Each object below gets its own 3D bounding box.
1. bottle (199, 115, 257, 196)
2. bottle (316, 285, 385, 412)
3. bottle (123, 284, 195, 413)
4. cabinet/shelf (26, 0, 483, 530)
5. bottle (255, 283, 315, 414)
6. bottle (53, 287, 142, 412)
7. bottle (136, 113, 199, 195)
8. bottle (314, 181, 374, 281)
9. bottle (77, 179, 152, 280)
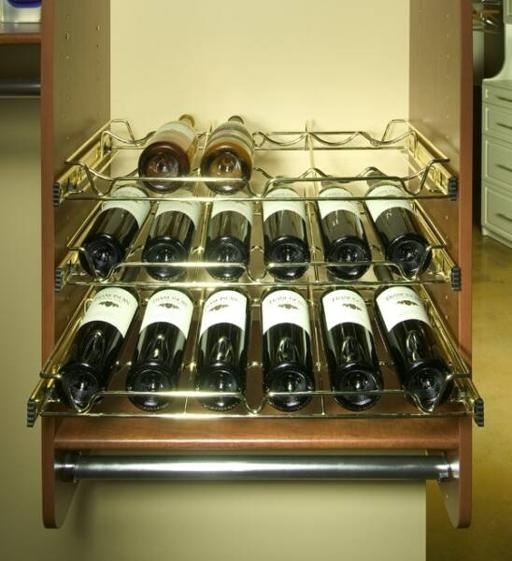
[{"bbox_3d":[-0.036,-0.200,0.613,0.036,0.131,0.035,4,-50,4],"label":"bottle"},{"bbox_3d":[0.106,0.079,0.501,0.041,0.150,0.040,0,-67,-1],"label":"bottle"},{"bbox_3d":[-0.106,0.066,0.506,0.056,0.142,0.061,1,-57,2],"label":"bottle"},{"bbox_3d":[0.012,0.137,0.247,0.803,0.972,1.221,-1,-76,-1],"label":"cabinet/shelf"},{"bbox_3d":[0.031,0.078,0.488,0.042,0.151,0.039,-1,-67,-2],"label":"bottle"},{"bbox_3d":[-0.183,0.044,0.558,0.065,0.238,0.060,-1,-59,-1],"label":"bottle"},{"bbox_3d":[-0.122,-0.177,0.623,0.059,0.196,0.050,-6,-68,2],"label":"bottle"},{"bbox_3d":[0.118,-0.066,0.604,0.049,0.188,0.048,-1,-65,-1],"label":"bottle"},{"bbox_3d":[-0.186,-0.068,0.578,0.048,0.178,0.042,42,-82,-18],"label":"bottle"}]
